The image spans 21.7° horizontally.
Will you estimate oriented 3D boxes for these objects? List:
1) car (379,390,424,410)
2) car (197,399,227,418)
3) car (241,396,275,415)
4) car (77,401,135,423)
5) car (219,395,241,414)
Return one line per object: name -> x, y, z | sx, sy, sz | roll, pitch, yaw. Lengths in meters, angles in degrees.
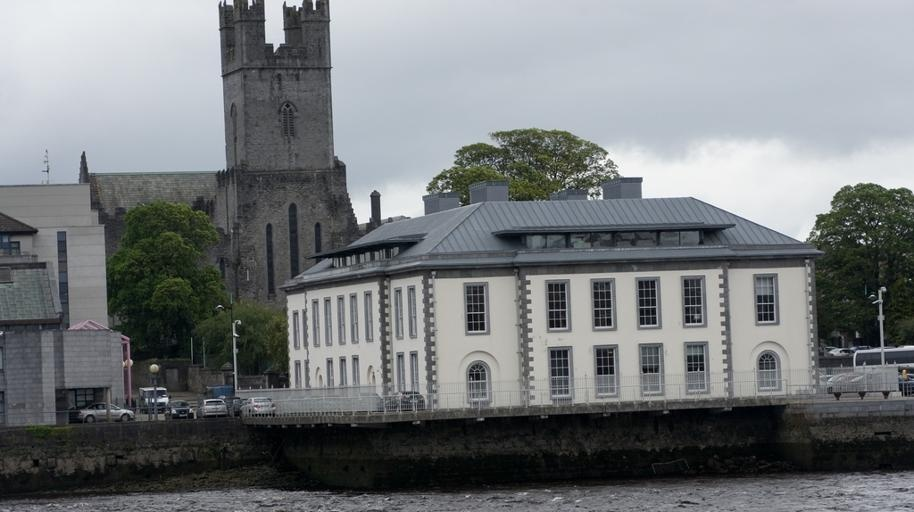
car -> -3.915, 10.939, 183.678 | 2.599, 0.978, 1.445 | 3, -6, -20
car -> -20.006, 12.368, 198.762 | 2.402, 1.848, 6.306 | -1, -7, -7
car -> -15.701, 11.718, 190.967 | 2.469, 1.805, 4.982 | -1, -8, -9
car -> -28.868, 12.738, 198.311 | 4.133, 1.132, 1.785 | -1, -1, -8
car -> -18.621, 12.233, 201.155 | 1.222, 0.981, 1.905 | 0, 1, -12
